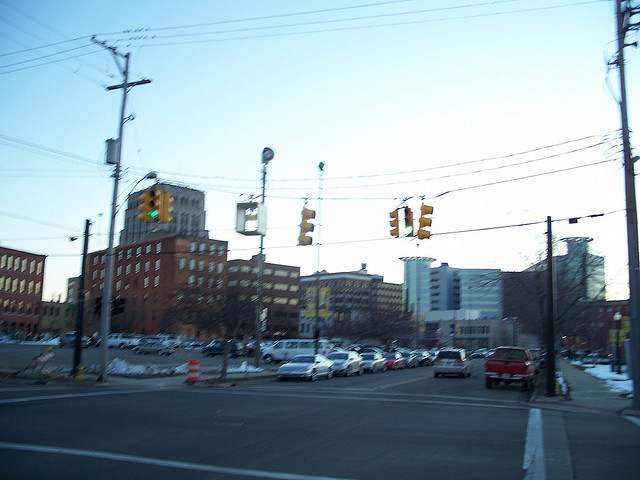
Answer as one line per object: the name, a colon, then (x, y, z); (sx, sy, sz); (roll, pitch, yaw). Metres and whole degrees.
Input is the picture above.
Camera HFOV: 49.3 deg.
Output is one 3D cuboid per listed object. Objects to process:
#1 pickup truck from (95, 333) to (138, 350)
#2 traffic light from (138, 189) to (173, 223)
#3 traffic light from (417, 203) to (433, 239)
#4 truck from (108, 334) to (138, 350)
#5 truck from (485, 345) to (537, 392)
pickup truck: (-21.095, 10.890, 74.250); (2.372, 1.669, 3.725); (8, -14, -30)
traffic light: (-6.170, -1.330, 27.510); (1.587, 1.333, 1.514); (-3, 2, -41)
traffic light: (4.187, -0.669, 28.057); (0.554, 1.381, 0.927); (-1, -14, 7)
truck: (-21.037, 10.836, 73.791); (4.014, 1.074, 1.854); (2, -6, 4)
truck: (9.580, 6.120, 33.786); (2.787, 1.716, 5.916); (-4, -7, 32)
